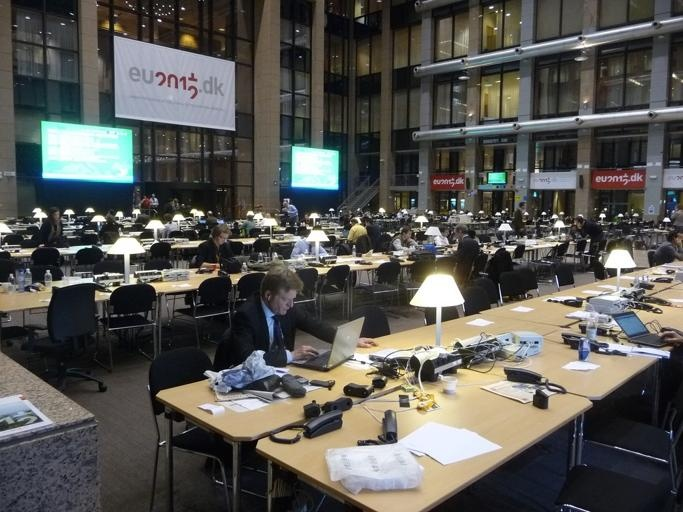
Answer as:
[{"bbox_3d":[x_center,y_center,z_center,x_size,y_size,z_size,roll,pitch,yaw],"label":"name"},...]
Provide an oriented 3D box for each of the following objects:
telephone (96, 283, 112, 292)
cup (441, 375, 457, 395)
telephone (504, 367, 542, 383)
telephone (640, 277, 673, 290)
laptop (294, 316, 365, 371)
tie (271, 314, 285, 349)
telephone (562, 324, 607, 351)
[{"bbox_3d":[-2.902,0.400,6.916,0.190,0.057,0.116,-2,3,-23],"label":"telephone"},{"bbox_3d":[0.756,0.916,3.987,0.080,0.079,0.119,-1,-2,-5],"label":"cup"},{"bbox_3d":[1.319,0.881,4.182,0.330,0.117,0.094,-2,6,37],"label":"telephone"},{"bbox_3d":[4.218,0.364,7.604,0.354,0.083,0.305,-7,6,-22],"label":"telephone"},{"bbox_3d":[-0.096,0.691,4.448,0.422,0.319,0.533,1,3,30],"label":"laptop"},{"bbox_3d":[-0.504,0.617,4.578,0.066,0.261,0.146,-1,7,18],"label":"tie"},{"bbox_3d":[2.071,0.707,4.868,0.218,0.093,0.280,0,3,-43],"label":"telephone"}]
